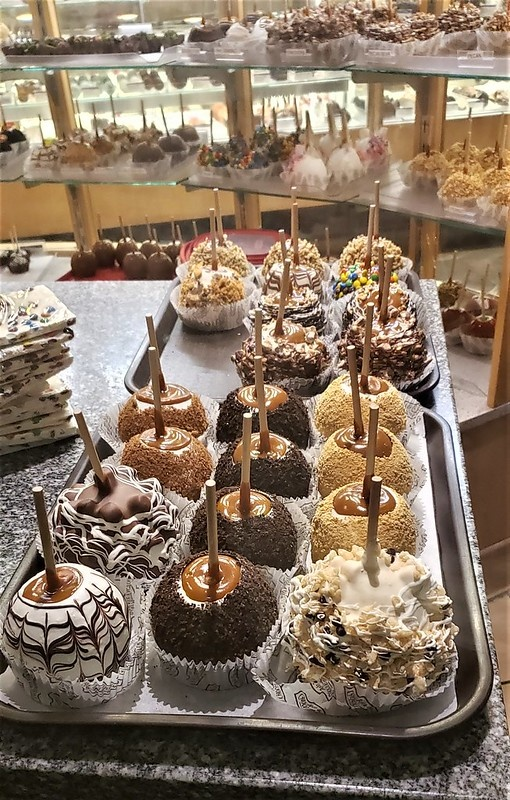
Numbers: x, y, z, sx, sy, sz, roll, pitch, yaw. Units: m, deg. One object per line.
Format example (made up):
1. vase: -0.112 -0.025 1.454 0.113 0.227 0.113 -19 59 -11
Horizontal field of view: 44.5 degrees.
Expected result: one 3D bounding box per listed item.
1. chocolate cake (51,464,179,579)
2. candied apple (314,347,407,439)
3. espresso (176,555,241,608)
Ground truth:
1. chocolate cake: -0.159 0.146 0.726 0.138 0.068 0.094 15 33 32
2. candied apple: 0.179 0.008 1.009 0.139 0.138 0.136 -18 28 -15
3. espresso: -0.045 0.184 0.663 0.062 0.041 0.064 -8 27 -12
